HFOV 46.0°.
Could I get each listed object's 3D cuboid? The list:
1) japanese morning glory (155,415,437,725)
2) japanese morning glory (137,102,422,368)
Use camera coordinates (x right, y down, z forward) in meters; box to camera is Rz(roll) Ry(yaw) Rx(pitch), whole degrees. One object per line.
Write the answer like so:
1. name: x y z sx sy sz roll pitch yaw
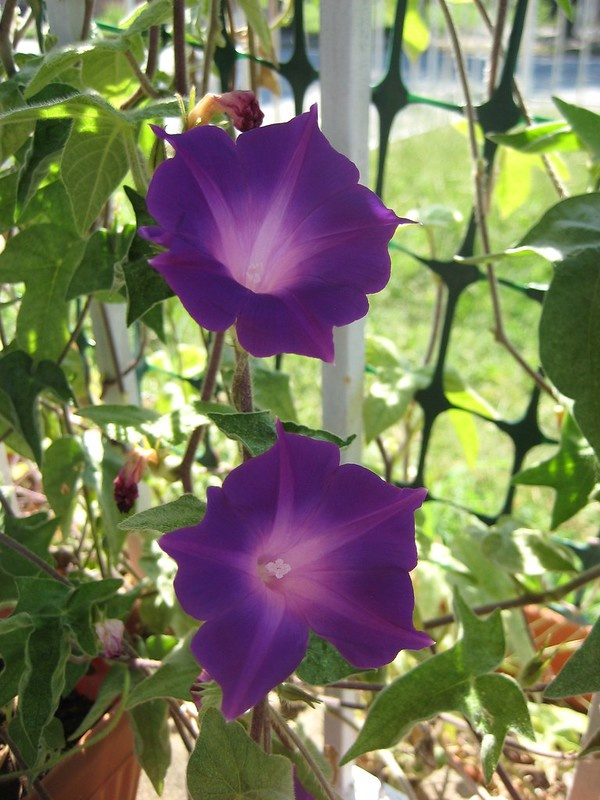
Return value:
1. japanese morning glory: 0.001 0.096 0.438 0.170 0.165 0.088 -10 24 -25
2. japanese morning glory: -0.016 -0.104 0.436 0.112 0.146 0.137 12 24 27
